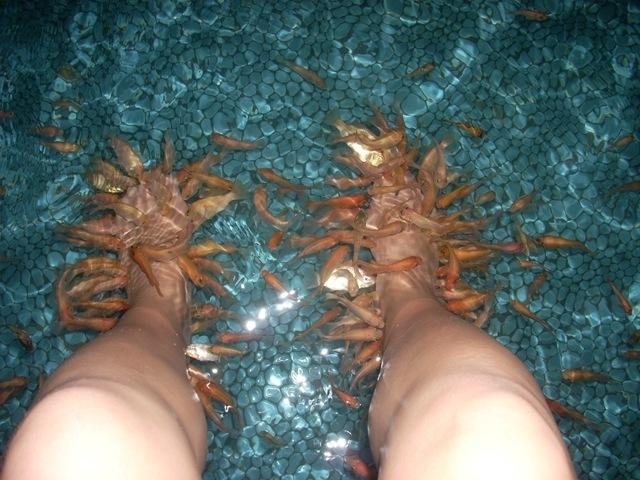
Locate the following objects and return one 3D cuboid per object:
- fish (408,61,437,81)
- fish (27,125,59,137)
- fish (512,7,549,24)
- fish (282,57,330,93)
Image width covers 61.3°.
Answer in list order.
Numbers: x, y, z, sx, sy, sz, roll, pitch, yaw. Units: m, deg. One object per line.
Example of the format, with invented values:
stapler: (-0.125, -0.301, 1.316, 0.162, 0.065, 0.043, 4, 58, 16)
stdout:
fish: (0.482, -0.792, 2.531, 0.123, 0.077, 0.042, -4, 30, -22)
fish: (-1.240, -0.489, 2.434, 0.151, 0.045, 0.049, 0, 10, -12)
fish: (1.011, -1.070, 2.574, 0.197, 0.059, 0.086, 18, 8, 33)
fish: (-0.068, -0.760, 2.514, 0.240, 0.042, 0.050, 34, 15, 2)
